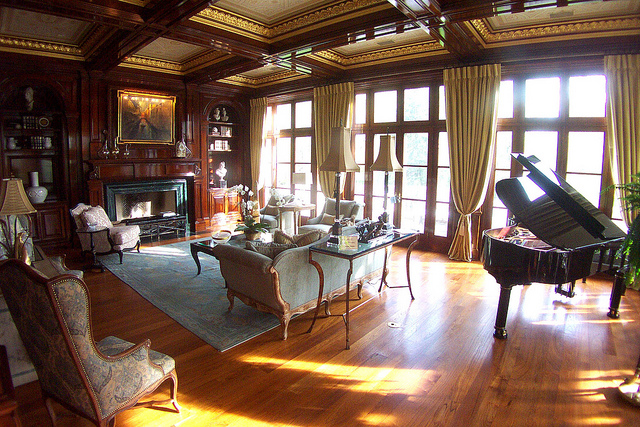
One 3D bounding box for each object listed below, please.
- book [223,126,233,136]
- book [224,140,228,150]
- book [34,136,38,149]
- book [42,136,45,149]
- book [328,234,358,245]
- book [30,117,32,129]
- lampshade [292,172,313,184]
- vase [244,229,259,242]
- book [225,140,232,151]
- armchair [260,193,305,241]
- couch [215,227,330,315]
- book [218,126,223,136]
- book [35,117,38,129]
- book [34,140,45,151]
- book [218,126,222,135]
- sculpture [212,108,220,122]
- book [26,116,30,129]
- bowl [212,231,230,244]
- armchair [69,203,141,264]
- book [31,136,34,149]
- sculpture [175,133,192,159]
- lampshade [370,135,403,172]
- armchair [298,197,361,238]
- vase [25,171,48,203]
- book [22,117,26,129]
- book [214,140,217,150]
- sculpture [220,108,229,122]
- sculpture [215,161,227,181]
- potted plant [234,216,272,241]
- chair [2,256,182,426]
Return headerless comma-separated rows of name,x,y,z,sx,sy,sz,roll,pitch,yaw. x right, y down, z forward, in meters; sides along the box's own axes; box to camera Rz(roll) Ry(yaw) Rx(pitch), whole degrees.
book,-2.437,-2.172,11.883,0.020,0.176,0.296,2,9,26
book,-2.448,-1.776,11.768,0.044,0.171,0.189,6,-11,-18
book,-5.697,-1.411,9.051,0.057,0.239,0.078,-5,8,-35
book,-5.588,-1.423,9.126,0.045,0.242,0.111,-4,8,-29
book,0.319,0.364,6.303,0.415,0.115,0.201,0,6,2
book,-5.761,-1.794,9.002,0.046,0.223,0.028,-5,8,-33
lampshade,-0.426,-0.822,10.347,0.375,0.237,0.374,1,9,7
vase,-1.172,0.378,7.715,0.218,0.103,0.214,0,7,-20
book,-2.424,-1.804,11.931,0.170,0.280,0.451,-1,6,-9
armchair,-1.044,0.048,10.366,0.971,1.162,0.899,2,2,43
couch,-0.548,0.889,6.907,1.262,0.969,1.745,10,11,38
book,-2.598,-2.160,11.772,0.113,0.214,0.085,-2,7,-12
book,-5.686,-1.813,9.060,0.044,0.216,0.080,-4,8,-31
book,-5.646,-1.360,9.077,0.214,0.225,0.020,-6,9,-32
book,-2.602,-2.157,11.750,0.098,0.215,0.107,-2,7,-11
sculpture,-2.649,-2.520,11.572,0.148,0.367,0.280,-2,7,-13
book,-5.806,-1.796,8.978,0.054,0.236,0.032,-5,8,-32
bowl,-1.721,0.405,7.915,0.240,0.114,0.240,3,6,0
armchair,-4.089,0.347,8.763,1.032,1.168,1.160,6,10,25
book,-5.745,-1.407,9.026,0.057,0.238,0.092,-4,8,-31
sculpture,-3.247,-1.599,10.685,0.167,0.588,0.363,5,9,40
lampshade,1.030,-0.971,6.954,0.448,0.530,0.486,7,27,32
armchair,0.097,0.109,9.139,0.980,0.801,0.807,7,8,41
vase,-5.654,-0.519,9.029,0.278,0.595,0.385,0,7,5
book,-5.864,-1.783,8.944,0.067,0.224,0.061,-2,7,-17
book,-2.692,-1.746,11.558,0.062,0.225,0.086,5,9,40
sculpture,-2.508,-2.552,11.752,0.183,0.371,0.244,-1,7,-6
sculpture,-2.620,-1.112,11.859,0.273,0.510,0.547,-2,7,-13
potted plant,-1.249,0.283,7.765,0.519,0.344,0.523,12,5,-20
chair,-2.632,1.532,5.208,1.255,2.380,1.442,13,20,36
